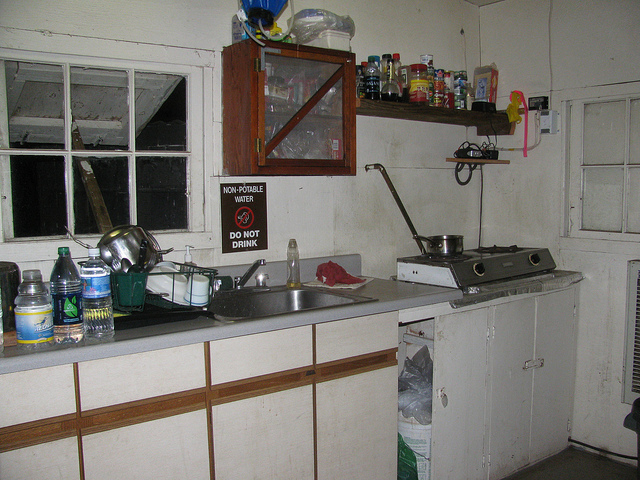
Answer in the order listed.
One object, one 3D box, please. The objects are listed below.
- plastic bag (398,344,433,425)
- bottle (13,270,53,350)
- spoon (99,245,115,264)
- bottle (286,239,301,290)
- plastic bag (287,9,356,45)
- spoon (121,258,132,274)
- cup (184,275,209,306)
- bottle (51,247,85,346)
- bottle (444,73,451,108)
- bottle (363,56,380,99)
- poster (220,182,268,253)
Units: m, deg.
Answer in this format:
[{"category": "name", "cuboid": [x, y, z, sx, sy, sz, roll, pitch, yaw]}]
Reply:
[{"category": "plastic bag", "cuboid": [0.542, 0.814, 3.153, 0.247, 0.352, 0.133, 9, -19, 45]}, {"category": "bottle", "cuboid": [-1.154, 0.274, 2.229, 0.183, 0.296, 0.117, -2, 5, 2]}, {"category": "spoon", "cuboid": [-0.937, 0.068, 2.480, 0.057, 0.048, 0.068, -21, 43, 14]}, {"category": "bottle", "cuboid": [-0.155, 0.132, 3.188, 0.081, 0.269, 0.193, -2, 5, -3]}, {"category": "plastic bag", "cuboid": [0.004, -1.150, 3.016, 0.284, 0.159, 0.216, -3, -1, 4]}, {"category": "spoon", "cuboid": [-0.858, 0.124, 2.511, 0.050, 0.058, 0.054, 10, 36, -38]}, {"category": "cup", "cuboid": [-0.538, 0.227, 2.555, 0.116, 0.117, 0.115, 5, 3, 0]}, {"category": "bottle", "cuboid": [-1.027, 0.224, 2.294, 0.115, 0.376, 0.126, -4, 6, -25]}, {"category": "bottle", "cuboid": [0.838, -0.982, 3.715, 0.040, 0.228, 0.130, 0, 5, 14]}, {"category": "bottle", "cuboid": [0.296, -0.942, 3.281, 0.093, 0.246, 0.095, -2, 5, 0]}, {"category": "poster", "cuboid": [-0.436, -0.128, 3.132, 0.350, 0.496, 0.005, -6, 10, -35]}]
